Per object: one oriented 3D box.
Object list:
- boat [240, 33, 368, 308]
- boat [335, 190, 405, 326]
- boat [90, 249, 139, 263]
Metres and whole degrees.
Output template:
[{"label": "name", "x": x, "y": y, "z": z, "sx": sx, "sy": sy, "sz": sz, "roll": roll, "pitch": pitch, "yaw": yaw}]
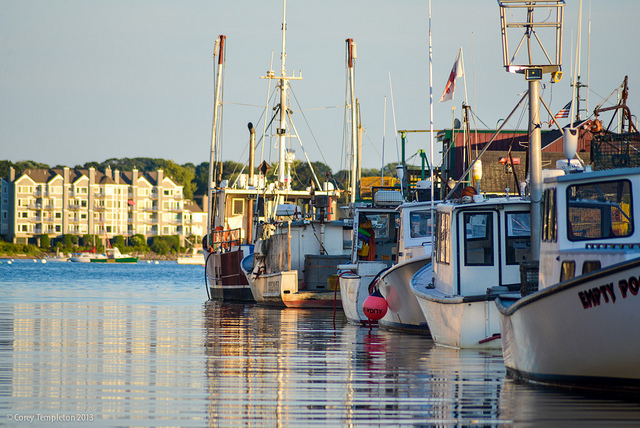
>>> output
[{"label": "boat", "x": -0.257, "y": -1.644, "z": 56.200, "sx": 3.735, "sy": 11.071, "sz": 10.742, "roll": 2, "pitch": 0, "yaw": -2}, {"label": "boat", "x": 1.689, "y": 1.141, "z": 48.917, "sx": 2.022, "sy": 3.804, "sz": 5.864, "roll": 2, "pitch": 4, "yaw": -5}, {"label": "boat", "x": -17.620, "y": 3.581, "z": 131.932, "sx": 3.544, "sy": 1.280, "sz": 4.428, "roll": -3, "pitch": -3, "yaw": 7}]
